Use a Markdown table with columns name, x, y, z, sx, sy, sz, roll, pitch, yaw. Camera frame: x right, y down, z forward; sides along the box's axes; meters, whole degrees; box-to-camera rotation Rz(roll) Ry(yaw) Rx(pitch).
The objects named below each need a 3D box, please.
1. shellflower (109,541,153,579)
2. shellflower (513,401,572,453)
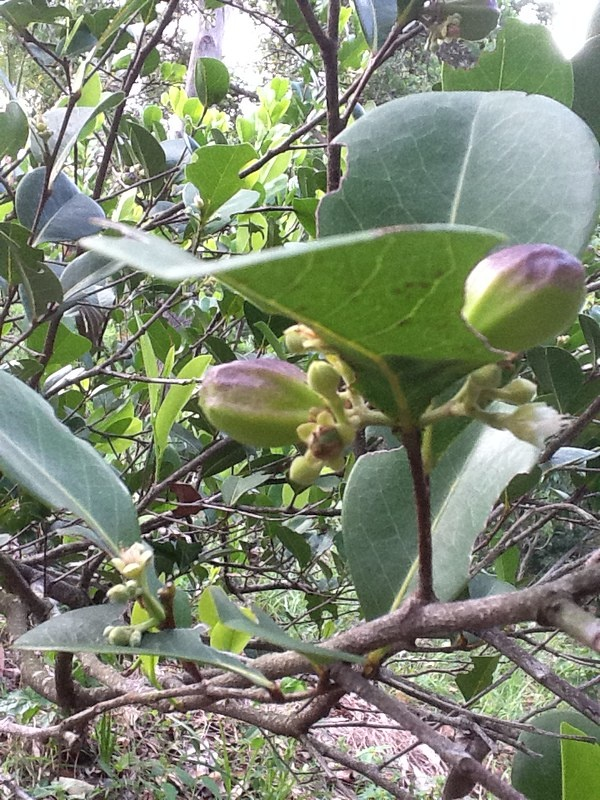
| name | x | y | z | sx | sy | sz | roll | pitch | yaw |
| --- | --- | --- | --- | --- | --- | --- | --- | --- | --- |
| shellflower | -0.191 | 0.181 | 0.883 | 0.046 | 0.020 | 0.044 | -9 | 28 | 17 |
| shellflower | 0.208 | 0.023 | 0.658 | 0.043 | 0.038 | 0.063 | -4 | -11 | 21 |
